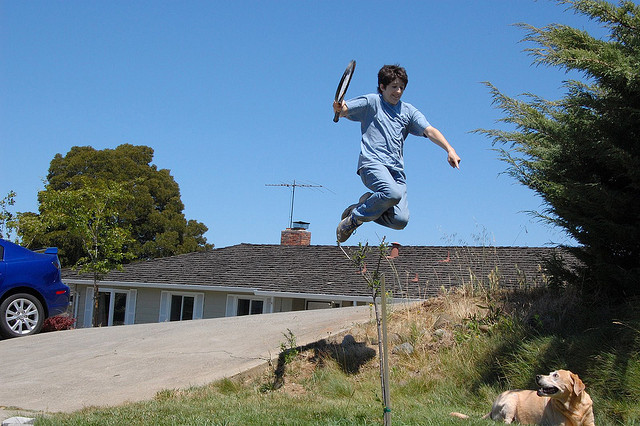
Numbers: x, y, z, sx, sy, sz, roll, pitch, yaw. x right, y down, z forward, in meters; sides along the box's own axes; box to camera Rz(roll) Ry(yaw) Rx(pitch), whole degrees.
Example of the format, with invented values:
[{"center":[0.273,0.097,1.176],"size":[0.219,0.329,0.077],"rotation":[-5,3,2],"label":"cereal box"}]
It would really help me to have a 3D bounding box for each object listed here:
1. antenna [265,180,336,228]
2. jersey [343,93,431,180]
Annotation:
[{"center":[-0.741,-0.288,14.867],"size":[1.825,1.770,1.909],"rotation":[3,-4,-7],"label":"antenna"},{"center":[0.878,-1.065,6.379],"size":[1.143,1.128,0.334],"rotation":[-3,-1,-24],"label":"jersey"}]
